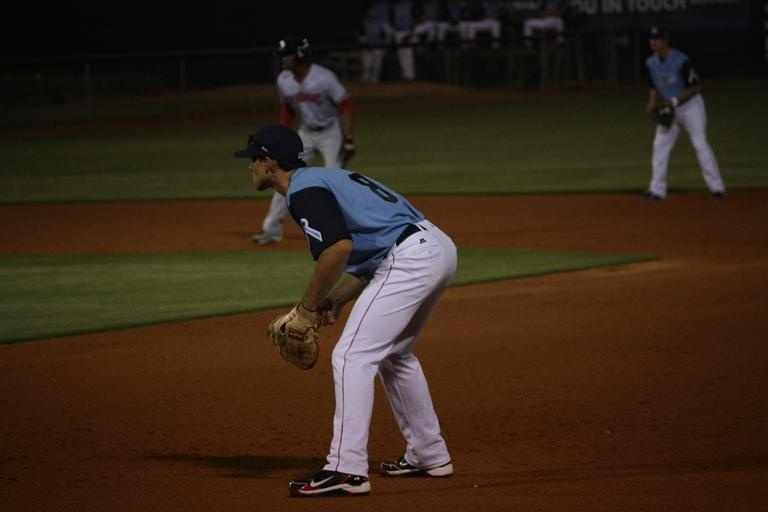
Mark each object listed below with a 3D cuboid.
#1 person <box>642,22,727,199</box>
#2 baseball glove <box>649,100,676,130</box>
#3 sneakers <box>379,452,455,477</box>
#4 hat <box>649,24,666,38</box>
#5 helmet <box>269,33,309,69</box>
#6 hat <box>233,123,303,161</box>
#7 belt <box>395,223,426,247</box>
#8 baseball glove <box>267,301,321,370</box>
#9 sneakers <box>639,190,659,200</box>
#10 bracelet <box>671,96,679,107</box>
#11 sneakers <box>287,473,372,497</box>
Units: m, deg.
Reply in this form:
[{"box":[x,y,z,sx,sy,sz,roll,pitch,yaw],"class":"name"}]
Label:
[{"box":[3.532,-1.698,11.394,0.818,1.876,1.521,0,8,17],"class":"person"},{"box":[3.072,-1.572,10.895,0.225,0.349,0.280,-16,14,-20],"class":"baseball glove"},{"box":[0.276,1.736,7.992,0.606,0.233,0.201,3,0,2],"class":"sneakers"},{"box":[3.021,-2.467,10.764,0.167,0.143,0.280,0,7,12],"class":"hat"},{"box":[-1.146,-2.451,11.663,0.599,0.502,0.438,3,17,4],"class":"helmet"},{"box":[-0.922,-0.924,7.815,0.462,0.200,0.302,6,11,4],"class":"hat"},{"box":[0.211,-0.176,7.771,0.139,0.197,0.054,40,-8,48],"class":"belt"},{"box":[-0.664,0.699,7.942,0.304,0.349,0.423,-8,8,-43],"class":"baseball glove"},{"box":[3.603,-0.819,13.247,0.246,0.078,0.183,7,6,22],"class":"sneakers"},{"box":[3.226,-1.715,10.796,0.132,0.105,0.033,4,4,14],"class":"bracelet"},{"box":[-0.405,1.785,7.765,0.711,0.257,0.230,2,-4,1],"class":"sneakers"}]
